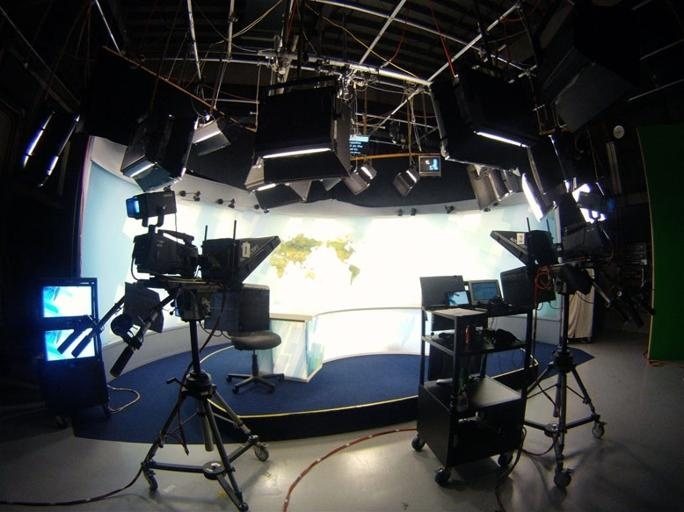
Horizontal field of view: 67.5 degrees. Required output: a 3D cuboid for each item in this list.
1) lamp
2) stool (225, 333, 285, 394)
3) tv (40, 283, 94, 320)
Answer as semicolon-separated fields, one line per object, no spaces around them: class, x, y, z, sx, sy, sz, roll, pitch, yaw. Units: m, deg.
lamp;0.241;-1.519;6.152;5.089;2.310;1.284;1;4;6
stool;-1.089;1.304;6.546;0.691;0.745;0.693;1;7;-12
tv;-3.229;0.532;5.921;0.329;0.467;0.633;-4;-4;35
